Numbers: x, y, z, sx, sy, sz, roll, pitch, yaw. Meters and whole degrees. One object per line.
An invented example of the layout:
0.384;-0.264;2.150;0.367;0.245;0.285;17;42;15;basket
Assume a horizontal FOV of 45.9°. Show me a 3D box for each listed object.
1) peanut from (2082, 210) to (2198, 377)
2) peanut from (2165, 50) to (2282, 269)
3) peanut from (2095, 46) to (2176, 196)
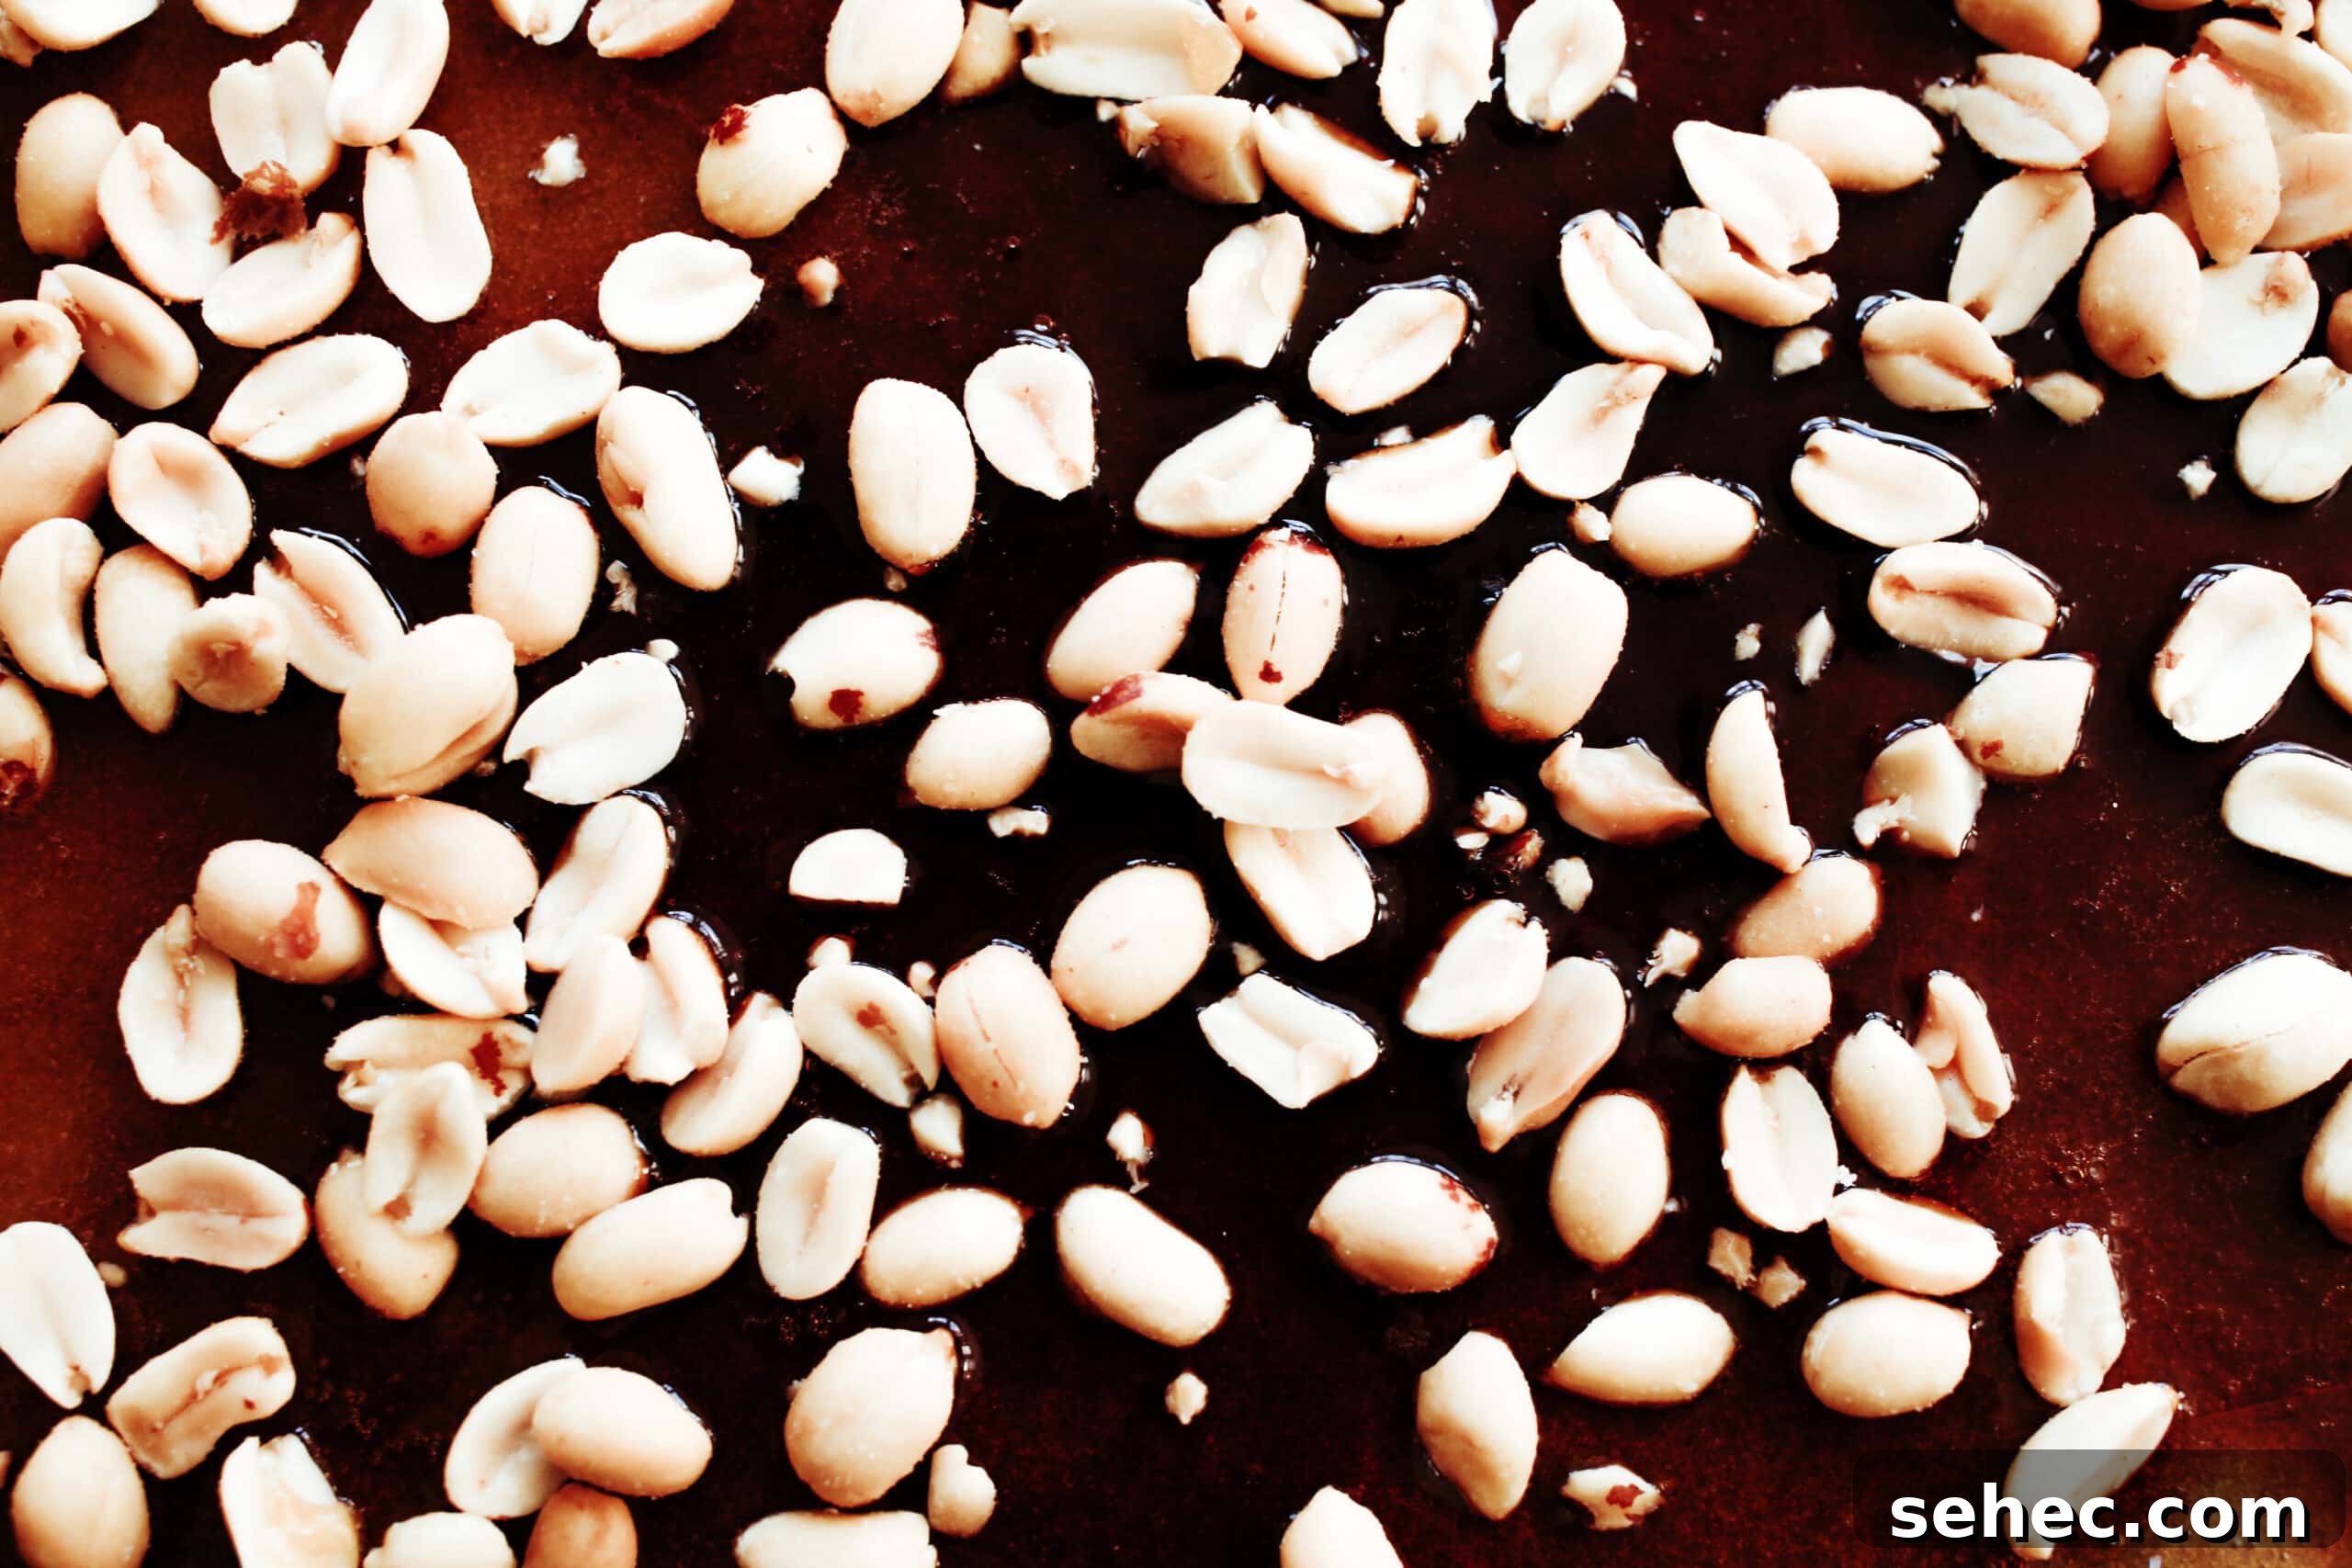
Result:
0.627;-0.319;1.809;0.064;0.056;0.108;-2;87;-9;peanut
0.678;-0.408;1.803;0.060;0.040;0.137;-7;91;11;peanut
0.627;-0.436;1.822;0.043;0.047;0.102;3;91;-25;peanut
